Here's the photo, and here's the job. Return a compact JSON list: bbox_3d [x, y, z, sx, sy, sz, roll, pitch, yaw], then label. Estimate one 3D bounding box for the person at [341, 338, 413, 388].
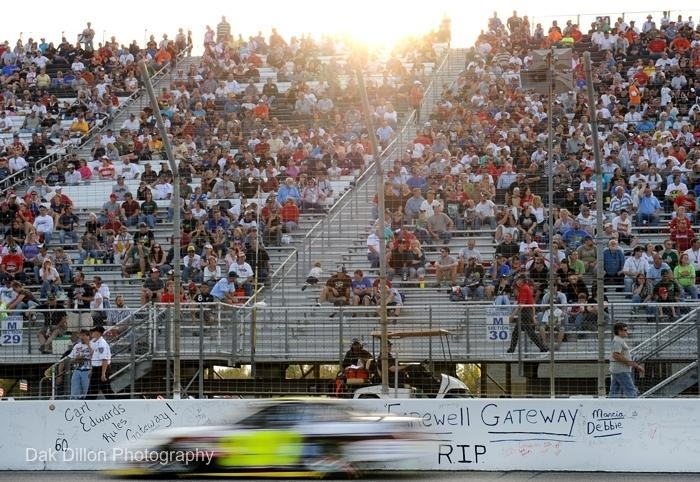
[{"bbox_3d":[0.746,3.968,64.629,2.254,1.487,1.055,-1,-4,0],"label":"person"}]
